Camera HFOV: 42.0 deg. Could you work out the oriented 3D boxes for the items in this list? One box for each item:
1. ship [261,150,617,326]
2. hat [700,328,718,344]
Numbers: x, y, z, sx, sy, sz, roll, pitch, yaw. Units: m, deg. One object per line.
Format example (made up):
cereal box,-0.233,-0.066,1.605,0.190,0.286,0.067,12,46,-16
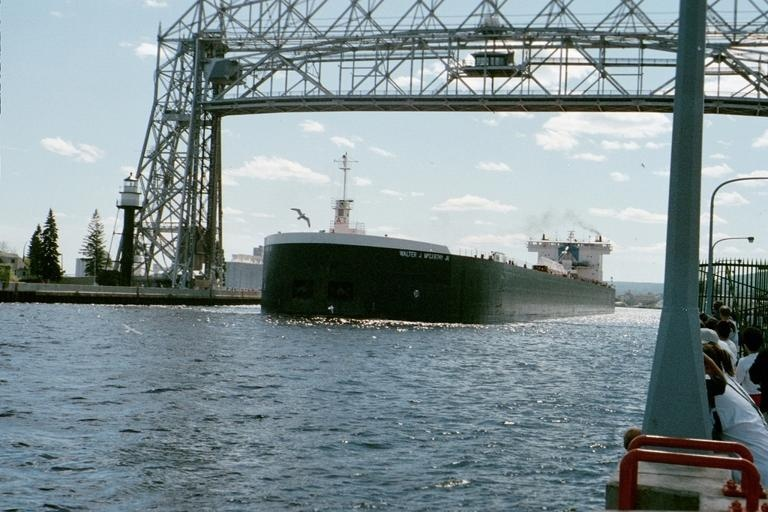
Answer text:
ship,6.340,1.180,53.512,7.998,8.107,31.201,1,-1,42
hat,6.814,1.699,20.955,0.382,0.275,0.568,7,-16,11
